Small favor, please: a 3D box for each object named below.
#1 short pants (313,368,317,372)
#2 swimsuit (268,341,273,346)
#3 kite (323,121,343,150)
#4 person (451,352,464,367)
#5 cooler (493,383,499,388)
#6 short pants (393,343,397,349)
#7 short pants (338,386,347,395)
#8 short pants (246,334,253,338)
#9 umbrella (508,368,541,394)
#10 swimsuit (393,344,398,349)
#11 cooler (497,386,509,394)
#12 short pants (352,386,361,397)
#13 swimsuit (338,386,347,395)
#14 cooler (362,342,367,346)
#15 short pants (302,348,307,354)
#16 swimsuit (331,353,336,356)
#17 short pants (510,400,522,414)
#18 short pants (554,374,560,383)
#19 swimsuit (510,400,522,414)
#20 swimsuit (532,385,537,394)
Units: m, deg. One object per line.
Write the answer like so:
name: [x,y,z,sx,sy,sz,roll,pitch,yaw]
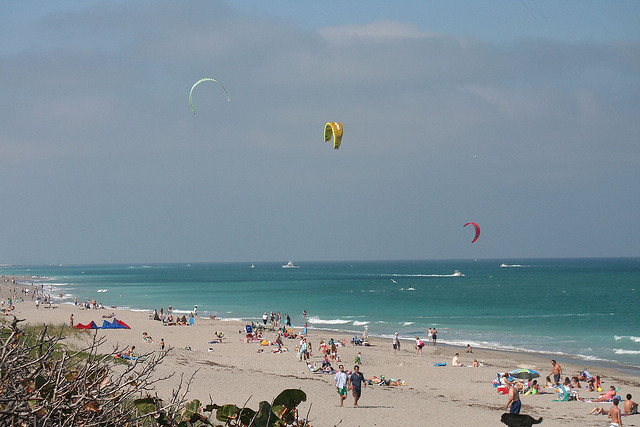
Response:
short pants: [-0.260,8.840,46.294,0.248,0.250,0.140,5,-24,9]
swimsuit: [-3.292,8.577,54.158,0.213,0.373,0.207,1,-1,-9]
kite: [0.584,-3.912,41.249,0.766,0.715,0.970,-12,-33,2]
person: [8.334,8.926,49.951,0.680,0.738,0.540,-7,10,-35]
cooler: [9.506,9.236,44.038,0.327,0.219,0.179,0,-5,4]
short pants: [4.992,8.873,54.877,0.325,0.341,0.303,2,0,18]
short pants: [1.122,8.573,39.829,0.550,0.545,0.328,1,-5,-7]
short pants: [-4.790,8.276,55.408,0.302,0.387,0.210,2,-10,-13]
umbrella: [10.781,8.837,43.049,1.202,0.870,1.188,0,-10,-1]
swimsuit: [5.063,8.861,54.855,0.245,0.270,0.256,-5,7,-36]
cooler: [9.556,9.150,42.767,0.453,0.304,0.453,2,-1,5]
short pants: [1.751,8.639,39.679,0.401,0.445,0.420,9,-24,0]
swimsuit: [1.107,8.600,39.694,0.450,0.426,0.268,0,-5,-4]
cooler: [3.139,9.041,56.893,0.317,0.272,0.170,14,-24,-11]
short pants: [-0.888,8.248,48.994,0.231,0.296,0.612,6,-24,7]
swimsuit: [0.839,8.657,50.416,0.174,0.160,0.041,-2,0,-3]
short pants: [9.206,9.053,38.340,0.418,0.699,0.676,5,-24,9]
short pants: [12.841,8.925,44.237,0.270,0.474,0.356,14,-45,10]
swimsuit: [9.199,9.060,38.335,0.430,0.718,0.843,4,-24,11]
swimsuit: [11.352,9.271,43.080,0.222,0.485,0.223,-1,-26,22]
